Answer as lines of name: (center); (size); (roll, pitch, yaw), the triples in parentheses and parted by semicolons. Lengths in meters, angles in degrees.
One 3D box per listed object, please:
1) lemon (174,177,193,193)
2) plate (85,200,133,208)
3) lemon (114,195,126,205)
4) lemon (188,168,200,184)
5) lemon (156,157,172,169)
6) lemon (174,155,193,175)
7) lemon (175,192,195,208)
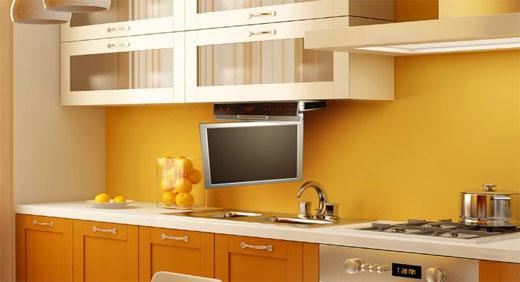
lemon: (-0.659, 0.380, 4.108); (0.128, 0.122, 0.153); (16, 1, 40)
plate: (-1.355, 0.562, 4.308); (0.387, 0.059, 0.335); (1, -2, -9)
lemon: (-1.241, 0.518, 4.260); (0.088, 0.043, 0.081); (-1, 4, -5)
lemon: (-0.557, 0.302, 4.135); (0.131, 0.112, 0.120); (0, 6, 5)
lemon: (-0.831, 0.188, 4.154); (0.106, 0.062, 0.099); (0, 0, -25)
lemon: (-0.648, 0.202, 4.130); (0.166, 0.164, 0.152); (-8, 3, 11)
lemon: (-0.642, 0.503, 4.161); (0.148, 0.121, 0.129); (1, -23, 11)
